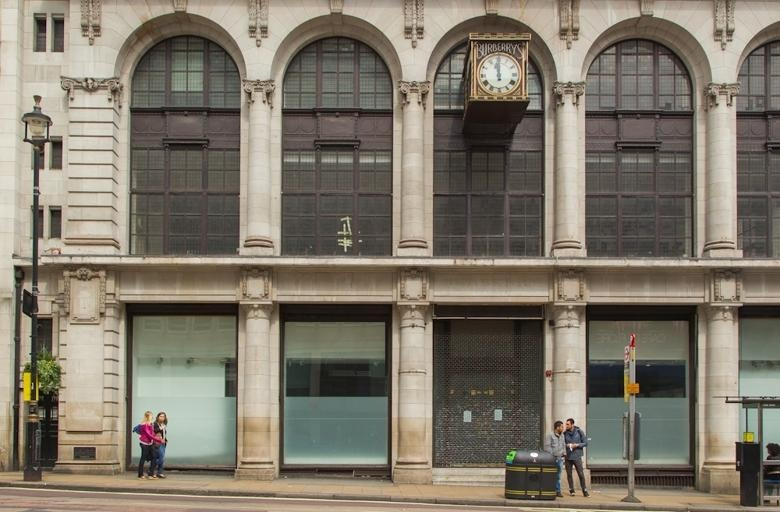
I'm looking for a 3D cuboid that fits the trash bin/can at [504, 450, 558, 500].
[{"bbox_3d":[5.241,8.100,73.160,2.045,1.661,2.039,0,-4,3],"label":"trash bin/can"}]

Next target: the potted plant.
[{"bbox_3d":[-13.671,5.694,75.482,1.514,3.500,1.746,-6,-19,40],"label":"potted plant"}]

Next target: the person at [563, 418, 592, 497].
[{"bbox_3d":[7.092,7.583,74.315,1.345,2.541,0.911,7,-4,18],"label":"person"}]
